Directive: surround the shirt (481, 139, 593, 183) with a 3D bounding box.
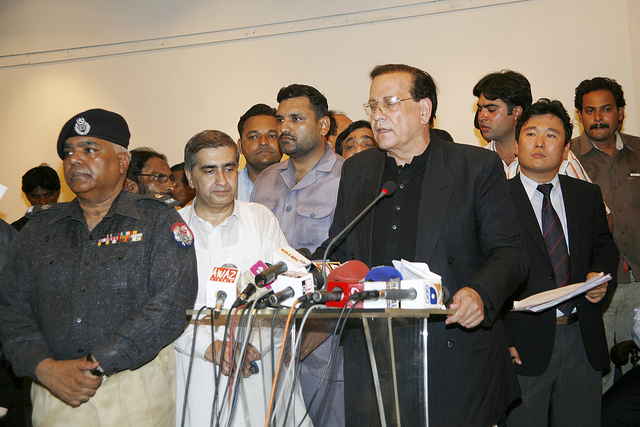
[{"bbox_3d":[2.035,-0.383,4.626,0.699,0.302,0.876,-11,-24,3],"label":"shirt"}]

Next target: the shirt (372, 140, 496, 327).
[{"bbox_3d":[0.609,0.132,2.764,0.885,1.188,0.306,-4,-23,21],"label":"shirt"}]

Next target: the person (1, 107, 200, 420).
[{"bbox_3d":[-1.279,0.276,3.044,1.103,1.852,0.623,-3,0,-15],"label":"person"}]

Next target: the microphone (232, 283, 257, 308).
[{"bbox_3d":[-0.351,0.382,2.422,0.037,0.038,0.146,23,37,17],"label":"microphone"}]

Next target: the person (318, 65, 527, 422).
[{"bbox_3d":[0.576,0.129,2.865,0.986,1.932,0.632,-3,0,21],"label":"person"}]

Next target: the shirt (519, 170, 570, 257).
[{"bbox_3d":[1.673,-0.005,3.875,0.272,0.573,0.121,-4,-6,10],"label":"shirt"}]

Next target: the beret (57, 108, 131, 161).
[{"bbox_3d":[-1.415,-0.493,3.281,0.414,0.322,0.182,-3,0,-23],"label":"beret"}]

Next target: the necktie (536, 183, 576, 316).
[{"bbox_3d":[1.682,0.139,3.846,0.116,0.693,0.065,-10,14,15],"label":"necktie"}]
